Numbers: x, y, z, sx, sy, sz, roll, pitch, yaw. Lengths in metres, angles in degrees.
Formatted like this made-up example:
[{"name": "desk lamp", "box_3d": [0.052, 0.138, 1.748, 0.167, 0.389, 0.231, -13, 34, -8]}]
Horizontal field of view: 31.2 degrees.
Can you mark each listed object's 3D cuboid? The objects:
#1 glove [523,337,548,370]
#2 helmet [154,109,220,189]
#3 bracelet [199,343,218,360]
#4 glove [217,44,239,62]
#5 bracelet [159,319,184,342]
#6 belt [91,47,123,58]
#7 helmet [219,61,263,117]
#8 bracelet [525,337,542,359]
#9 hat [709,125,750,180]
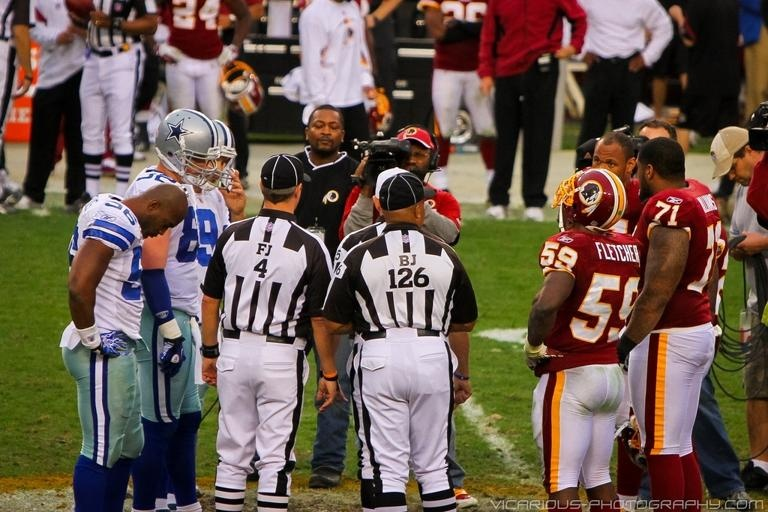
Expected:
[{"name": "glove", "box_3d": [1.169, 0.791, 10.723, 0.164, 0.219, 0.217, -1, -4, -16]}, {"name": "helmet", "box_3d": [-1.623, -0.904, 11.389, 0.607, 0.609, 0.487, 19, 16, 17]}, {"name": "bracelet", "box_3d": [-1.407, 0.770, 11.056, 0.123, 0.097, 0.102, -4, 7, -11]}, {"name": "glove", "box_3d": [-1.909, -2.434, 16.676, 0.230, 0.250, 0.356, 3, 8, 0]}, {"name": "bracelet", "box_3d": [-1.714, 0.604, 11.049, 0.153, 0.165, 0.157, -16, 0, -36]}, {"name": "belt", "box_3d": [-3.182, -2.299, 15.675, 0.363, 0.105, 0.098, 1, 8, -13]}, {"name": "helmet", "box_3d": [-1.715, -1.977, 16.300, 0.475, 0.567, 0.357, 3, 7, 1]}, {"name": "bracelet", "box_3d": [1.174, 0.725, 10.776, 0.147, 0.157, 0.112, -5, 13, -11]}, {"name": "hat", "box_3d": [2.928, -0.911, 11.708, 0.248, 0.433, 0.276, 42, -5, -17]}]
